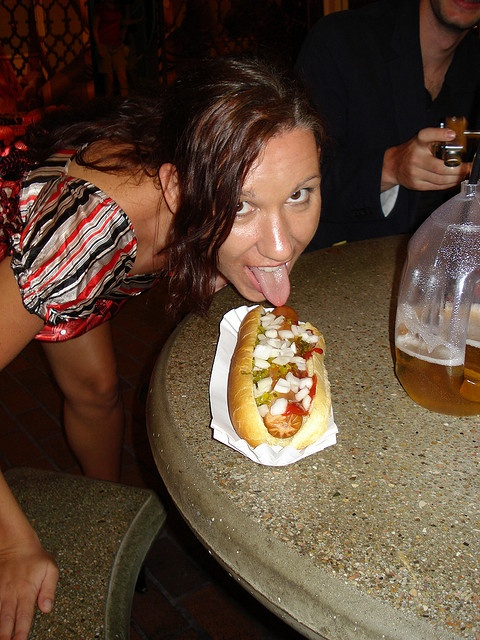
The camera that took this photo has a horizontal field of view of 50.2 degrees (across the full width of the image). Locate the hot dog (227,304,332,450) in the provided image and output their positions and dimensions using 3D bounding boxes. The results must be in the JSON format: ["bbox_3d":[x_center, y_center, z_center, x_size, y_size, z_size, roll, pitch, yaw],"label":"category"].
[{"bbox_3d":[0.106,0.126,1.201,0.250,0.123,0.441,-7,32,1],"label":"hot dog"}]
